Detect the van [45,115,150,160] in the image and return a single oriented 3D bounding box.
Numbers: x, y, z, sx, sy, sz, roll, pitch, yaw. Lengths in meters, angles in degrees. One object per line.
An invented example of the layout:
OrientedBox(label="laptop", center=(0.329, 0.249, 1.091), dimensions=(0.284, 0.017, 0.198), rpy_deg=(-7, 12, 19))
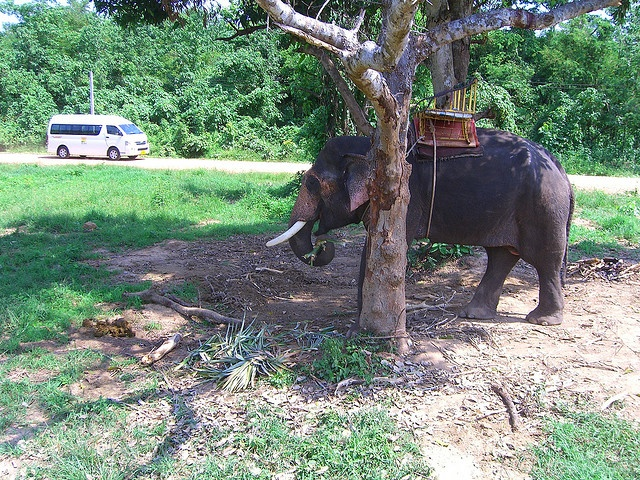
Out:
OrientedBox(label="van", center=(-8.879, -4.024, 22.058), dimensions=(3.533, 1.707, 1.754), rpy_deg=(1, 20, 3))

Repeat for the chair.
OrientedBox(label="chair", center=(1.396, -1.420, 6.269), dimensions=(0.702, 0.691, 0.500), rpy_deg=(2, 8, -4))
